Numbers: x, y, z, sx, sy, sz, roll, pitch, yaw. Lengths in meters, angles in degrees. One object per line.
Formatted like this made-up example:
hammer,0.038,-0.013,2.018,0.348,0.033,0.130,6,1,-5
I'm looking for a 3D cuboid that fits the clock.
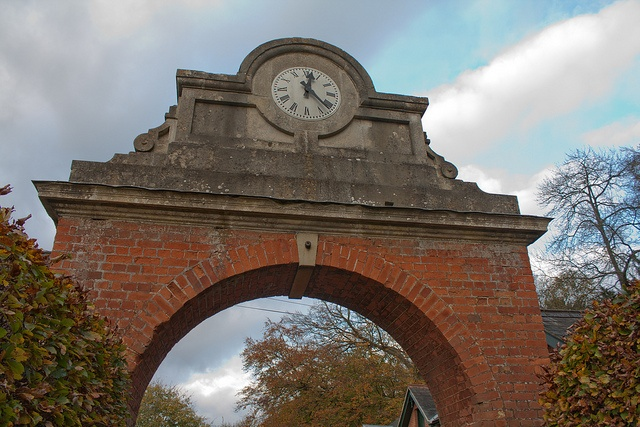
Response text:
clock,-0.304,-2.154,9.262,1.236,1.159,0.083,3,-29,-13
